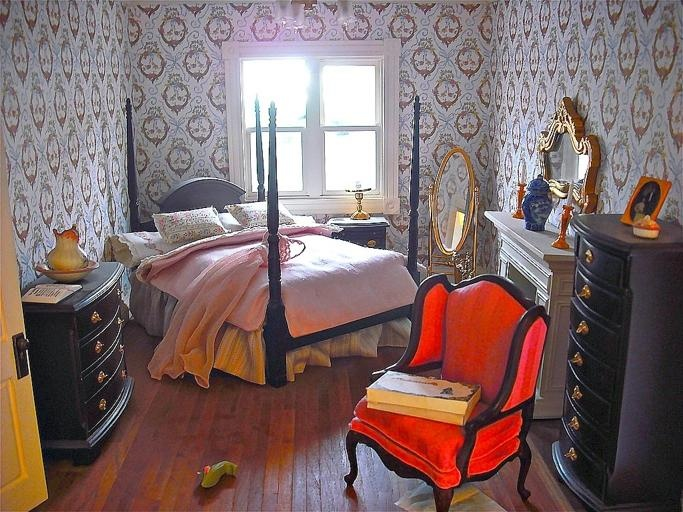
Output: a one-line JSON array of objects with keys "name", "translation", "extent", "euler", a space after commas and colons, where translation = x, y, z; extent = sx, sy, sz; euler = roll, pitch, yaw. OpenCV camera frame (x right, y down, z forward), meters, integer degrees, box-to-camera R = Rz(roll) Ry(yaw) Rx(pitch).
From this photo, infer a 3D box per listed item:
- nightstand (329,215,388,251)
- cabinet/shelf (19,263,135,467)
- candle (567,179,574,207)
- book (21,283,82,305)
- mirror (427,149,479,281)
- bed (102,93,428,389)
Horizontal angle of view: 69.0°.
[{"name": "nightstand", "translation": [0.239, -0.200, 5.513], "extent": [0.464, 0.522, 0.364], "euler": [-1, 6, -5]}, {"name": "cabinet/shelf", "translation": [-1.562, 0.650, 2.908], "extent": [0.445, 0.929, 0.870], "euler": [2, 15, 2]}, {"name": "candle", "translation": [1.496, -0.410, 3.276], "extent": [0.025, 0.147, 0.196], "euler": [4, 13, 27]}, {"name": "book", "translation": [-1.683, 0.214, 2.886], "extent": [0.243, 0.063, 0.243], "euler": [-2, 12, -1]}, {"name": "mirror", "translation": [1.191, -0.451, 5.333], "extent": [0.514, 1.391, 0.792], "euler": [2, 12, 15]}, {"name": "bed", "translation": [-0.773, -0.272, 4.736], "extent": [2.392, 2.262, 2.126], "euler": [13, 12, 43]}]
